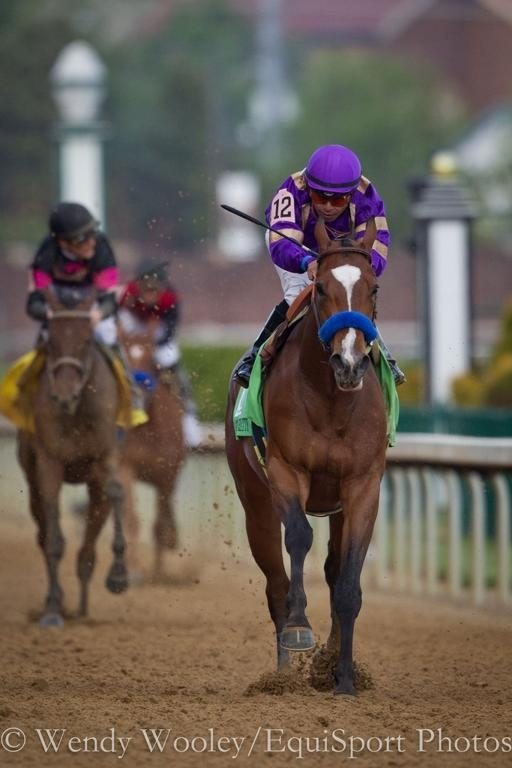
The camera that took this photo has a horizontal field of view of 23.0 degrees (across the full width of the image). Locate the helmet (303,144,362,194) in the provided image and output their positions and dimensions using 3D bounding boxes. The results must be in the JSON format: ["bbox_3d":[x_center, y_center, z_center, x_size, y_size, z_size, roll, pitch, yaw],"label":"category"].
[{"bbox_3d":[0.299,-0.850,4.942,0.229,0.211,0.220,1,2,3],"label":"helmet"}]

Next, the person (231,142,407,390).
[{"bbox_3d":[0.244,-0.536,5.056,0.841,1.115,1.012,0,16,1],"label":"person"}]

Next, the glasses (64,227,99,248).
[{"bbox_3d":[-0.866,-0.717,6.145,0.114,0.083,0.128,-16,-3,4],"label":"glasses"}]

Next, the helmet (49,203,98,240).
[{"bbox_3d":[-0.889,-0.787,6.146,0.221,0.128,0.159,-1,46,5],"label":"helmet"}]
